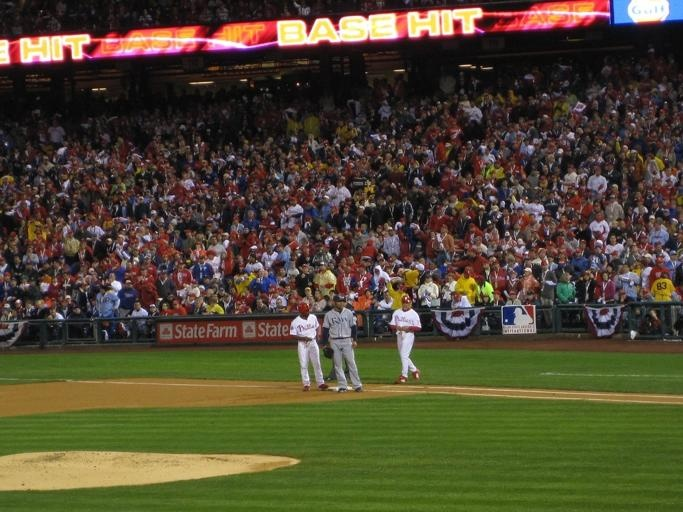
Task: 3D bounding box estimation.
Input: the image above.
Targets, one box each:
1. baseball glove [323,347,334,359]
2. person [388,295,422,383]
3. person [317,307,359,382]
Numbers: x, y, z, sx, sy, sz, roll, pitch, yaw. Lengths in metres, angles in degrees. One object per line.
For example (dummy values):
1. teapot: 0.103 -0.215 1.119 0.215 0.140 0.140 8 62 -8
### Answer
1. baseball glove: -0.414 2.945 53.636 0.309 0.311 0.270 -2 -2 29
2. person: 2.128 2.547 54.659 0.960 2.646 1.197 -4 1 -24
3. person: 0.001 2.605 53.530 1.091 3.336 0.756 -3 19 5
